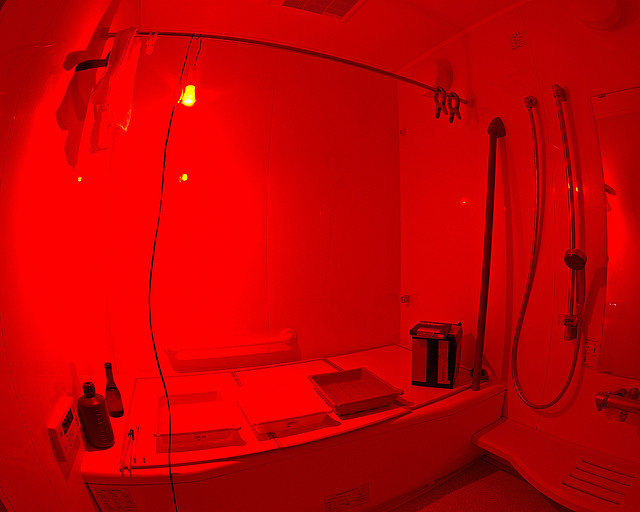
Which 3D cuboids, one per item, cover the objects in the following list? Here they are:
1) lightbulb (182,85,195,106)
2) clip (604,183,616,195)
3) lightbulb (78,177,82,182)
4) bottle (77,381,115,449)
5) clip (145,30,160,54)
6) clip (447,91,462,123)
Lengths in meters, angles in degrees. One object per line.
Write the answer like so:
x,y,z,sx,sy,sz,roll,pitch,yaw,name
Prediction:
-0.359,-0.439,1.436,0.026,0.019,0.051,1,-79,-11,lightbulb
0.972,-0.218,1.741,0.012,0.055,0.014,-19,-63,-4,clip
-0.643,-0.203,1.396,0.009,0.009,0.010,13,-64,-22,lightbulb
-0.628,0.448,1.449,0.066,0.098,0.165,-16,-58,-5,bottle
-0.450,-0.571,1.391,0.023,0.016,0.066,17,-68,-24,clip
0.515,-0.561,1.980,0.062,0.059,0.108,-15,-58,-6,clip
